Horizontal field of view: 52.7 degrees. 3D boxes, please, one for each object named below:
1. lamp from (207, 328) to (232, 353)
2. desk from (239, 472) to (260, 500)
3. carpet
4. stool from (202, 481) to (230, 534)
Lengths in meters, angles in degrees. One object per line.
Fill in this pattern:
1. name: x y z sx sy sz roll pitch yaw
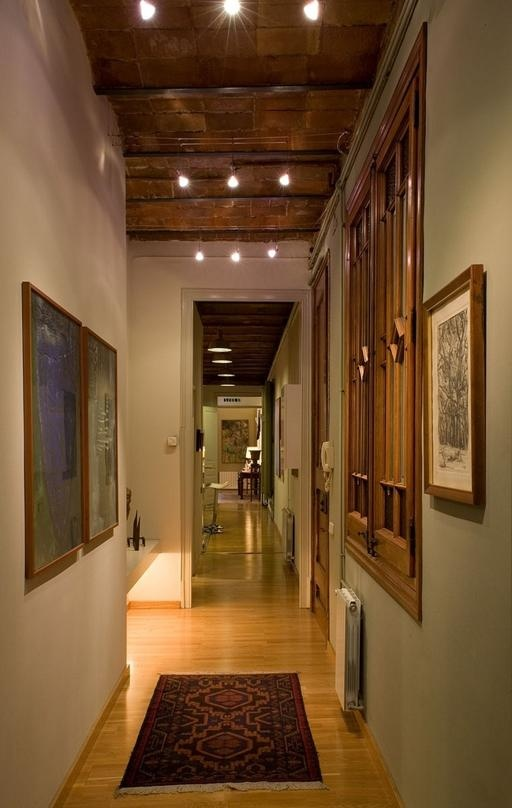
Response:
1. lamp: -0.499 -0.960 7.286 0.294 0.540 0.405 0 -10 0
2. desk: -0.172 2.308 14.757 0.431 0.927 0.766 0 -4 2
3. carpet: -0.152 1.612 2.555 0.855 0.046 1.012 0 -7 -2
4. stool: -0.778 1.971 9.726 0.551 1.431 0.706 -1 4 -8
